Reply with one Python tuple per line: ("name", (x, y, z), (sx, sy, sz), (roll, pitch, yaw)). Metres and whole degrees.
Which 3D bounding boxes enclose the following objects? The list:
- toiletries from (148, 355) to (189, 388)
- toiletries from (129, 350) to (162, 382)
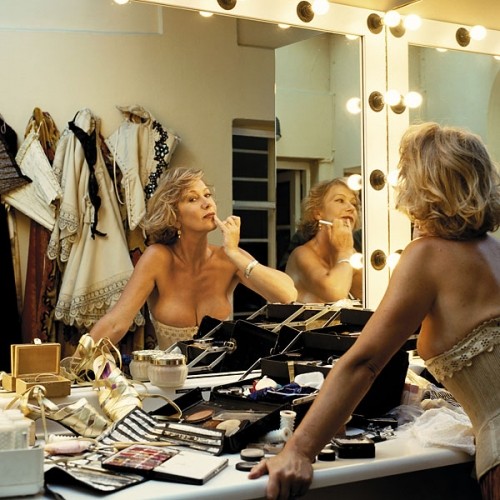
("toiletries", (-0.193, 0.268, 1.232), (0.088, 0.060, 0.086), (0, -2, 23))
("toiletries", (-0.245, 0.258, 1.256), (0.073, 0.057, 0.071), (-1, -5, 17))
